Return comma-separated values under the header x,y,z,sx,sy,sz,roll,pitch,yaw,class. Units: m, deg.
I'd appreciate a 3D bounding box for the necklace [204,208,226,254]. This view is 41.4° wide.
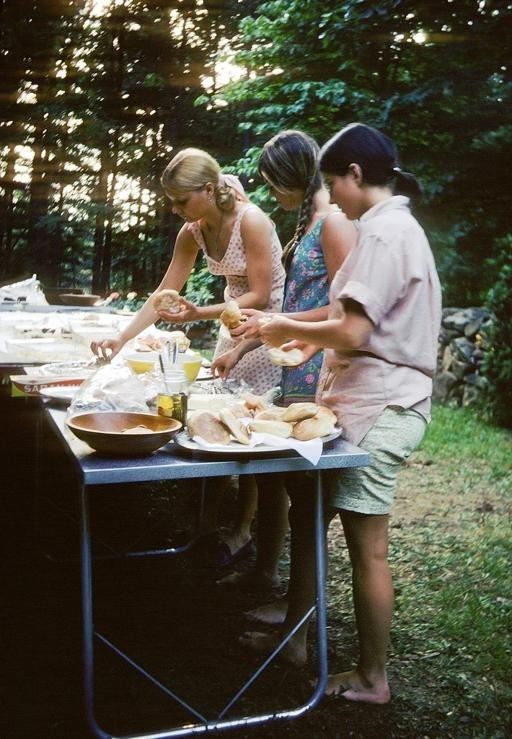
x,y,z,sx,sy,sz,roll,pitch,yaw,class
-0.172,-0.585,2.881,0.106,0.154,0.043,19,36,32,necklace

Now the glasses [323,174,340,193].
x,y,z,sx,sy,sz,roll,pitch,yaw,class
0.213,-0.541,1.954,0.044,0.044,0.051,-8,11,-19,glasses

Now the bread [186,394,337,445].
x,y,z,sx,sy,sz,roll,pitch,yaw,class
0.027,0.136,1.814,0.349,0.091,0.382,4,3,13,bread
